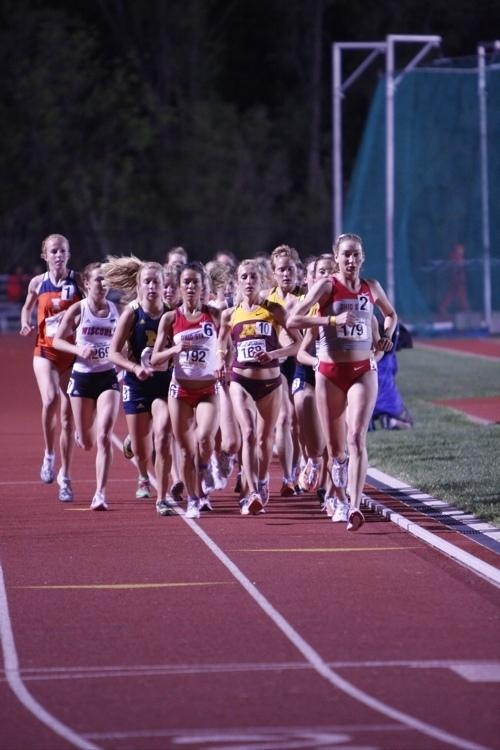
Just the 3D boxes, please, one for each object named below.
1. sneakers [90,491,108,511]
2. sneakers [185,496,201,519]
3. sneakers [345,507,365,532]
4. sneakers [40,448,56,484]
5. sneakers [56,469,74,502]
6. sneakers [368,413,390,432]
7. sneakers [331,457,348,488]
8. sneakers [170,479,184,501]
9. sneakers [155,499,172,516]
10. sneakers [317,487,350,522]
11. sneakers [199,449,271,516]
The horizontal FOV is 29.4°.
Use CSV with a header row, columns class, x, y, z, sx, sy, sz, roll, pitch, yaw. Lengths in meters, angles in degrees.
class,x,y,z,sx,sy,sz,roll,pitch,yaw
sneakers,-1.128,0.955,7.199,0.084,0.088,0.201,5,-8,-13
sneakers,-0.407,0.963,6.939,0.138,0.155,0.370,1,-7,-1
sneakers,0.689,0.953,6.282,0.091,0.168,0.149,-1,3,0
sneakers,-1.729,0.790,8.291,0.119,0.344,0.146,9,-43,-22
sneakers,-1.482,0.884,7.712,0.111,0.136,0.323,6,7,-19
sneakers,1.634,0.579,11.948,0.254,0.225,0.418,-2,-11,1
sneakers,0.620,0.689,6.675,0.103,0.227,0.222,0,3,3
sneakers,-0.550,0.885,7.349,0.082,0.220,0.095,-3,42,-15
sneakers,-0.634,0.978,7.041,0.067,0.071,0.158,2,-5,-21
sneakers,0.620,0.966,6.917,0.093,0.116,0.272,2,10,-9
sneakers,-0.058,0.865,7.190,0.232,0.279,0.661,-2,24,-9
